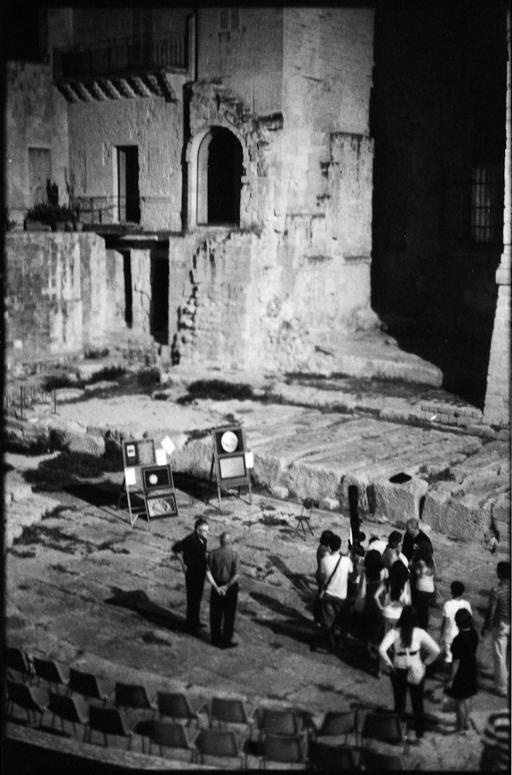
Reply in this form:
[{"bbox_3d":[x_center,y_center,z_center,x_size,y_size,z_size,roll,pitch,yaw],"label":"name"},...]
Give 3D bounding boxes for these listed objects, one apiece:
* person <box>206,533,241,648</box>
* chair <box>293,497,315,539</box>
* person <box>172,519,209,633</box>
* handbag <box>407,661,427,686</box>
[{"bbox_3d":[-0.264,1.651,10.564,0.256,1.079,0.567,1,6,-2],"label":"person"},{"bbox_3d":[0.541,1.414,13.917,0.217,0.587,0.267,-1,-2,39],"label":"chair"},{"bbox_3d":[-0.561,1.679,11.199,0.230,1.162,0.357,15,27,31],"label":"person"},{"bbox_3d":[1.162,2.046,9.239,0.075,0.202,0.172,-2,-26,-7],"label":"handbag"}]
